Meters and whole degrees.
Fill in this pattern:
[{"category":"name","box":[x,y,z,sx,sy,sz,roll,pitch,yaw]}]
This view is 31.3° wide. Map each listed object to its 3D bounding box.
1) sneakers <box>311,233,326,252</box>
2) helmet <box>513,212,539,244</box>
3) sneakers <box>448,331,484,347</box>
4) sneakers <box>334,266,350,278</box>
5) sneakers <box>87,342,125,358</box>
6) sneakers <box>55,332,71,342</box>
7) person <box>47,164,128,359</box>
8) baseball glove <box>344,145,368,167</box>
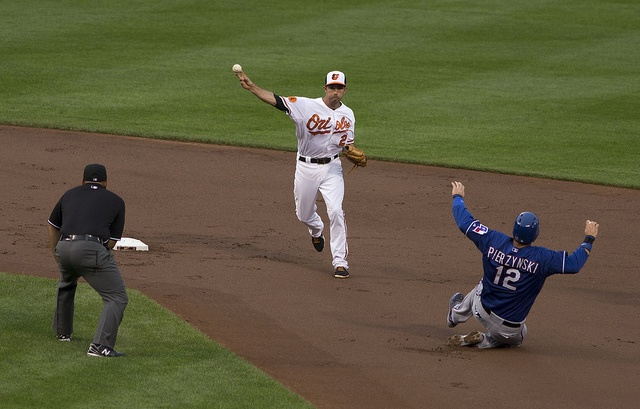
[{"category":"sneakers","box":[-0.068,0.704,21.379,0.176,0.328,0.155,0,22,11]},{"category":"helmet","box":[3.345,0.377,18.763,0.438,0.501,0.455,16,-27,11]},{"category":"sneakers","box":[2.386,2.236,19.043,0.668,0.191,0.254,-6,-9,14]},{"category":"sneakers","box":[0.353,1.208,20.616,0.246,0.148,0.421,0,2,-4]},{"category":"sneakers","box":[-3.503,2.345,18.393,0.641,0.213,0.189,2,1,-2]},{"category":"sneakers","box":[-4.189,2.153,18.599,0.264,0.103,0.094,11,12,4]},{"category":"person","box":[-3.690,0.868,18.420,1.519,2.993,0.752,15,15,27]},{"category":"baseball glove","box":[0.637,-0.910,21.352,0.461,0.233,0.338,32,1,6]}]
